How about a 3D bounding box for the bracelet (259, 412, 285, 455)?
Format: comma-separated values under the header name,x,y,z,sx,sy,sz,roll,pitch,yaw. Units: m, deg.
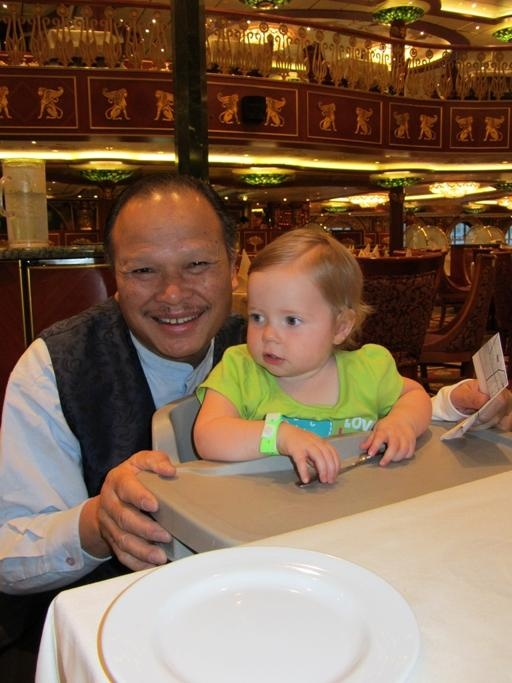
name,x,y,z,sx,sy,sz,roll,pitch,yaw
bracelet,0.030,0.162,1.002,0.036,0.061,0.023,-6,-26,30
